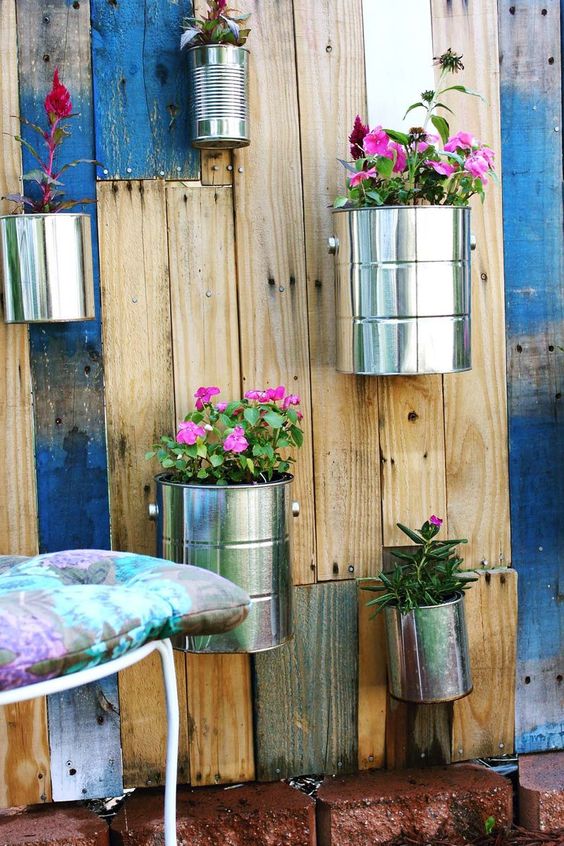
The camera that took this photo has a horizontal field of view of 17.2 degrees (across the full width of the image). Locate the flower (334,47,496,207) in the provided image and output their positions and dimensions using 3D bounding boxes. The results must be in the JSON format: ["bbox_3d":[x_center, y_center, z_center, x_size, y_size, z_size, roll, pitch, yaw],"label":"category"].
[{"bbox_3d":[0.231,-0.523,3.321,0.282,0.288,0.287,-3,5,7],"label":"flower"}]

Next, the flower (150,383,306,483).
[{"bbox_3d":[-0.097,0.022,3.290,0.267,0.175,0.275,-4,5,0],"label":"flower"}]

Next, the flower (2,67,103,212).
[{"bbox_3d":[-0.412,-0.488,3.231,0.166,0.251,0.178,-4,5,-6],"label":"flower"}]

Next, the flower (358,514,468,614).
[{"bbox_3d":[0.247,0.278,3.425,0.170,0.188,0.170,10,-12,-20],"label":"flower"}]
